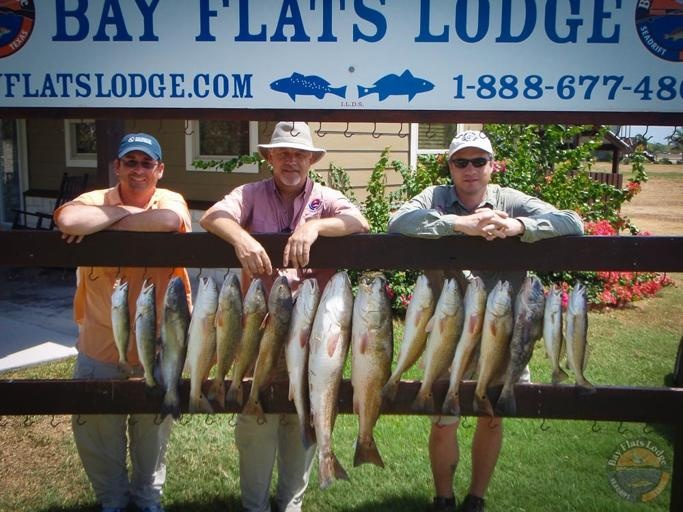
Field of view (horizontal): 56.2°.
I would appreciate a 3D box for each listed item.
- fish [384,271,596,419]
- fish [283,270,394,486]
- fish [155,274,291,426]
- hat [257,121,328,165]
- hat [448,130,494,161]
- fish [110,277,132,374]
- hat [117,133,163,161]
[{"bbox_3d":[0.882,0.541,3.910,1.233,0.841,0.181,1,9,0],"label":"fish"},{"bbox_3d":[0.054,0.714,3.792,0.502,1.189,0.360,0,9,-3],"label":"fish"},{"bbox_3d":[-0.748,0.537,3.938,0.674,0.864,0.272,0,9,-8],"label":"fish"},{"bbox_3d":[-0.380,-0.769,4.298,0.405,0.245,0.344,3,10,11],"label":"hat"},{"bbox_3d":[0.876,-0.753,4.386,0.279,0.197,0.299,3,10,8],"label":"hat"},{"bbox_3d":[-1.356,0.432,4.009,0.106,0.593,0.190,1,0,-17],"label":"fish"},{"bbox_3d":[-1.379,-0.743,4.409,0.269,0.184,0.281,-3,11,-21],"label":"hat"}]
